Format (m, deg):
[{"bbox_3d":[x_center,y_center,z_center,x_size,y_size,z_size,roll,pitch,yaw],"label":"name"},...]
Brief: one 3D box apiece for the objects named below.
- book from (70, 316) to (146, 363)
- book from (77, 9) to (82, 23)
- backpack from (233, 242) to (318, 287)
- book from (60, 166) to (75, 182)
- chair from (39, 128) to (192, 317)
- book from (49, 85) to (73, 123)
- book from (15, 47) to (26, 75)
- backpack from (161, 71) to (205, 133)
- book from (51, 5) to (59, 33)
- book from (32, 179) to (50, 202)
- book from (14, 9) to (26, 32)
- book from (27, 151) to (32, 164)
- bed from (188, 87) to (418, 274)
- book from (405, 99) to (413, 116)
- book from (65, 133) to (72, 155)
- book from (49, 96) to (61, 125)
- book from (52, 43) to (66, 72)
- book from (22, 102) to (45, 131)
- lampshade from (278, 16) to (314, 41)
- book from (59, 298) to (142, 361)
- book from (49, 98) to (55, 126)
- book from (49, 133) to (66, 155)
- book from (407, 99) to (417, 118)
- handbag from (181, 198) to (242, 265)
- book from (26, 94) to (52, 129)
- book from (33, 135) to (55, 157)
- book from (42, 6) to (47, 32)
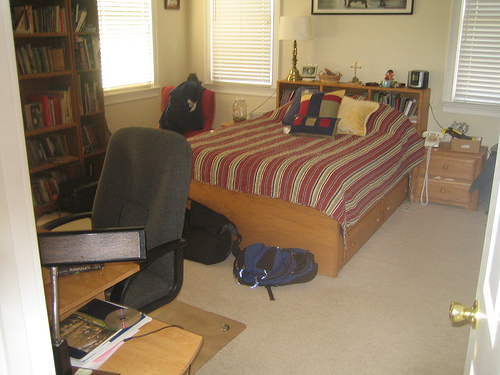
[{"bbox_3d":[-0.429,0.471,1.404,0.308,0.035,0.034,-26,42,-36],"label":"book"},{"bbox_3d":[-1.766,-1.770,4.442,0.038,0.127,0.122,-4,22,-11],"label":"book"},{"bbox_3d":[0.165,0.563,3.128,0.454,0.171,0.311,-1,26,-1],"label":"backpack"},{"bbox_3d":[-1.932,-0.160,4.549,0.167,0.165,0.041,9,17,2],"label":"book"},{"bbox_3d":[-0.527,0.126,2.143,0.477,0.756,0.707,-9,23,-23],"label":"chair"},{"bbox_3d":[-1.900,-0.833,4.309,0.111,0.323,0.329,-6,19,-39],"label":"book"},{"bbox_3d":[-2.063,-1.132,3.858,0.042,0.223,0.090,-8,23,-21],"label":"book"},{"bbox_3d":[-0.811,-1.197,5.463,0.706,0.347,0.976,3,32,-8],"label":"backpack"},{"bbox_3d":[-1.863,-1.608,4.113,0.060,0.235,0.114,-1,21,-2],"label":"book"},{"bbox_3d":[-2.083,0.027,4.270,0.040,0.177,0.173,-18,23,-16],"label":"book"},{"bbox_3d":[-2.057,-1.483,3.821,0.047,0.168,0.152,4,22,11],"label":"book"},{"bbox_3d":[-2.127,-0.272,4.139,0.019,0.092,0.060,-9,23,-22],"label":"book"},{"bbox_3d":[0.459,-0.181,3.900,1.470,1.119,1.927,15,26,33],"label":"bed"},{"bbox_3d":[1.765,-0.891,4.792,0.025,0.110,0.109,19,15,9],"label":"book"},{"bbox_3d":[-1.910,-0.459,4.514,0.036,0.159,0.155,-6,15,-11],"label":"book"},{"bbox_3d":[-1.921,-0.769,4.282,0.048,0.215,0.204,-8,18,-25],"label":"book"},{"bbox_3d":[-1.921,-1.263,4.286,0.131,0.215,0.225,-5,5,-28],"label":"book"},{"bbox_3d":[-2.113,-0.677,4.098,0.173,0.264,0.289,4,17,7],"label":"book"},{"bbox_3d":[0.543,-1.914,5.147,0.307,0.333,0.322,-11,26,-21],"label":"lampshade"},{"bbox_3d":[-0.533,0.462,1.399,0.167,0.021,0.183,11,26,19],"label":"book"},{"bbox_3d":[-1.954,-0.740,4.240,0.043,0.182,0.175,-1,-1,-12],"label":"book"},{"bbox_3d":[-1.961,-0.452,4.451,0.043,0.183,0.183,-11,28,10],"label":"book"},{"bbox_3d":[1.783,-0.895,4.813,0.034,0.149,0.148,19,18,8],"label":"book"},{"bbox_3d":[-0.316,0.382,3.467,0.385,0.440,0.487,21,23,28],"label":"handbag"},{"bbox_3d":[-2.083,-0.699,4.191,0.213,0.203,0.078,-5,6,-14],"label":"book"},{"bbox_3d":[-2.056,-0.414,4.325,0.044,0.187,0.179,-14,19,0],"label":"book"},{"bbox_3d":[-1.940,-1.594,4.062,0.037,0.162,0.155,2,4,-14],"label":"book"}]
